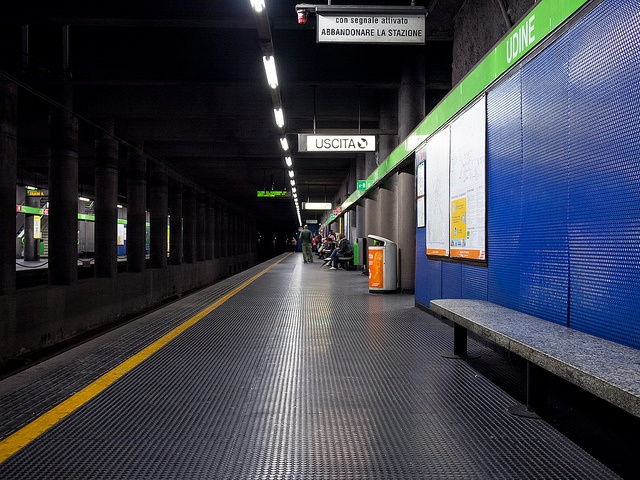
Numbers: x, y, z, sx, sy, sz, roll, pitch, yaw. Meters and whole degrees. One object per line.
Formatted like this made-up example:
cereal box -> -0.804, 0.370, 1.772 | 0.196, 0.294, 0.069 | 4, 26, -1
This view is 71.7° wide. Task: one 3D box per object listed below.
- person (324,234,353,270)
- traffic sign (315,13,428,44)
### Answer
person -> 0.794, 0.523, 18.316 | 0.783, 1.395, 1.576 | -1, 5, -13
traffic sign -> 0.701, -2.905, 6.145 | 1.476, 0.417, 0.120 | 0, 5, 0
